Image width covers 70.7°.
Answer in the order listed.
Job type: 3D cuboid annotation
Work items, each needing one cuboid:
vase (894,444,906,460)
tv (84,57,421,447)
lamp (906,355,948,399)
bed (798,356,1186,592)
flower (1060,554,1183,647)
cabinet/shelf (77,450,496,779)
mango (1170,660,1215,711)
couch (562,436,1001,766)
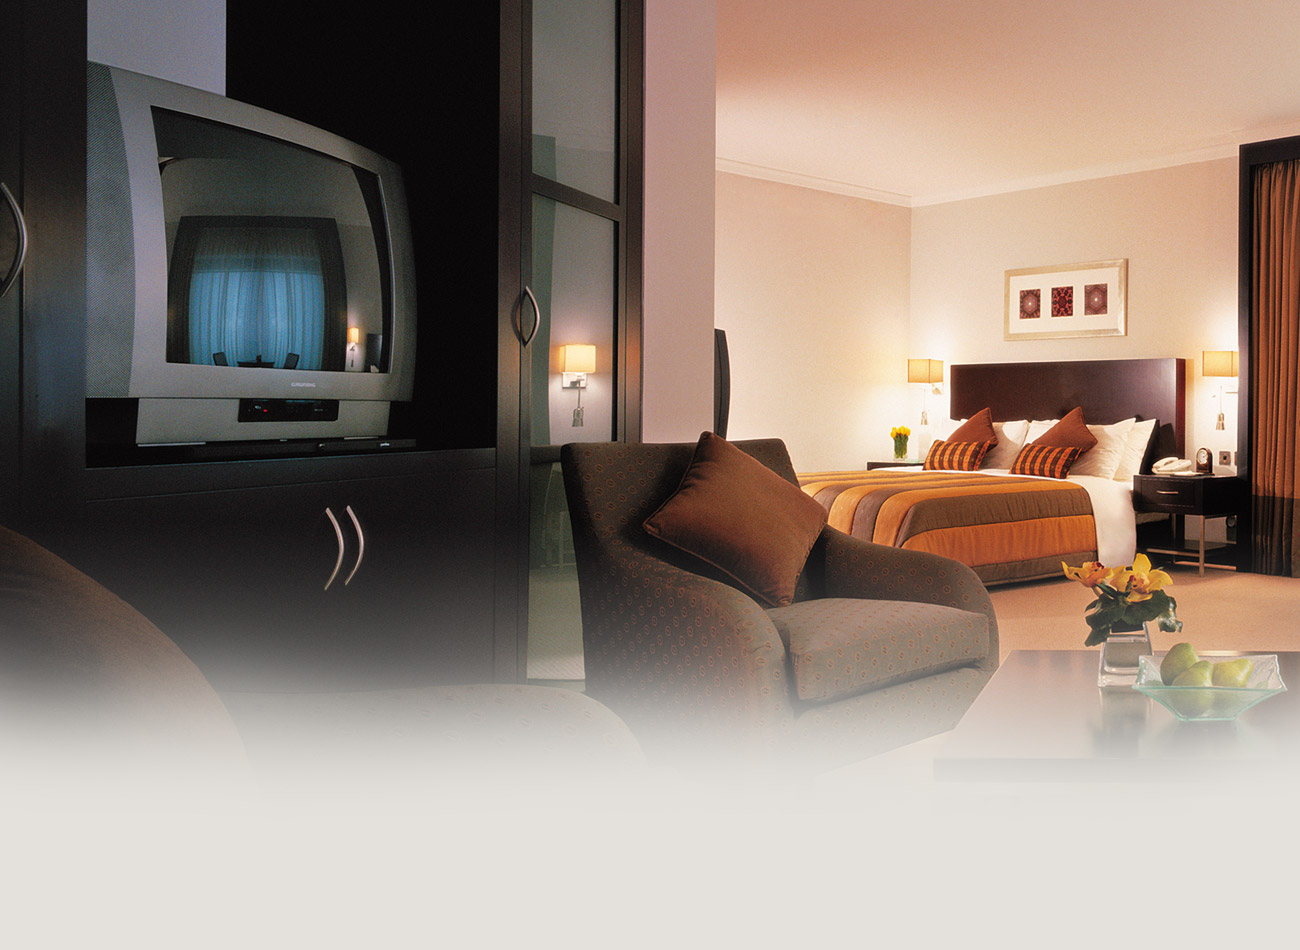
[{"bbox_3d":[2.219,-0.199,8.205,0.111,0.198,0.120,-1,4,-5],"label":"vase"},{"bbox_3d":[-0.882,-0.452,2.101,0.168,0.864,0.916,-2,-9,28],"label":"tv"},{"bbox_3d":[2.561,-0.868,8.451,0.348,0.508,0.339,3,-4,-40],"label":"lamp"},{"bbox_3d":[2.553,-0.037,6.457,2.014,1.313,1.980,1,0,-33],"label":"bed"},{"bbox_3d":[1.072,0.285,2.088,0.218,0.211,0.217,-1,-9,24],"label":"flower"},{"bbox_3d":[-0.639,0.217,1.619,0.178,0.352,0.591,-1,-1,22],"label":"cabinet/shelf"},{"bbox_3d":[1.047,0.412,1.765,0.067,0.076,0.097,1,36,37],"label":"mango"},{"bbox_3d":[0.346,0.293,2.506,0.977,0.813,0.757,8,-10,-39],"label":"couch"}]
